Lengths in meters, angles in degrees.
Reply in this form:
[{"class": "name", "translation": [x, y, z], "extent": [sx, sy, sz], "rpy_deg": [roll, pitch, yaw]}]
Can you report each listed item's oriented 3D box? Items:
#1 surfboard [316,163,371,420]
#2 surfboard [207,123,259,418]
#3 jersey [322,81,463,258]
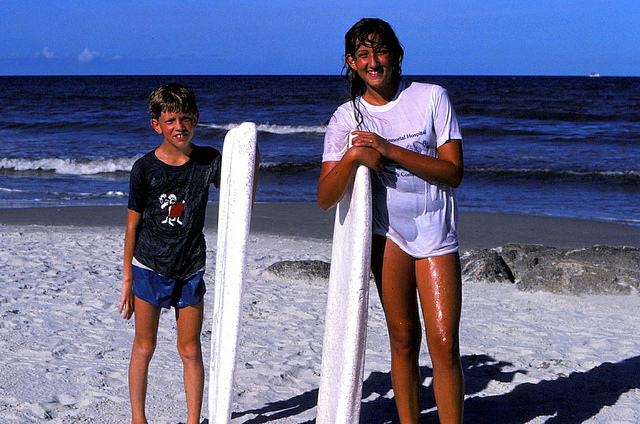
[{"class": "surfboard", "translation": [0.184, 0.647, 5.583], "extent": [0.404, 2.041, 0.452], "rpy_deg": [5, 9, 18]}, {"class": "surfboard", "translation": [-0.656, 0.482, 5.465], "extent": [0.351, 2.279, 0.453], "rpy_deg": [0, 9, -7]}, {"class": "jersey", "translation": [0.585, -0.338, 5.644], "extent": [0.997, 1.344, 0.393], "rpy_deg": [3, 9, 8]}]
